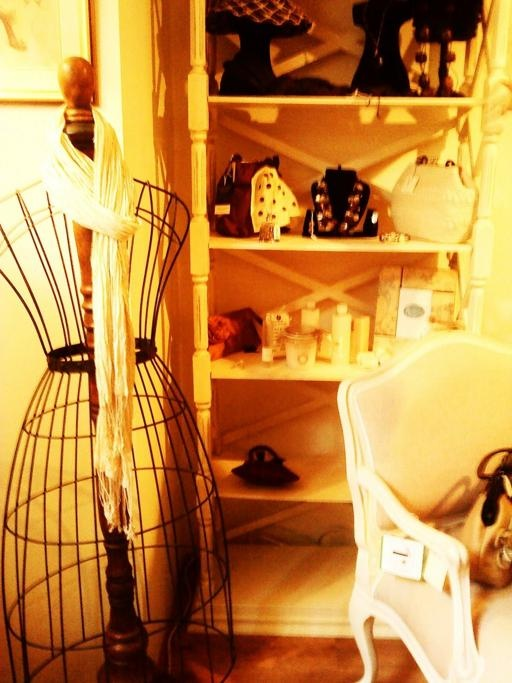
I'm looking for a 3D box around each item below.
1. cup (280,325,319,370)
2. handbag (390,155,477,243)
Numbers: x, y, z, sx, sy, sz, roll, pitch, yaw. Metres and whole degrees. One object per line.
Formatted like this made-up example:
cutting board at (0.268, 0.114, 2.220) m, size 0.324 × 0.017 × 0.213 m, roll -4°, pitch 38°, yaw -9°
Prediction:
cup at (0.134, 0.020, 1.784) m, size 0.088 × 0.118 × 0.108 m, roll -2°, pitch 23°, yaw -4°
handbag at (0.501, -0.389, 1.677) m, size 0.074 × 0.212 × 0.207 m, roll -14°, pitch 31°, yaw -27°
